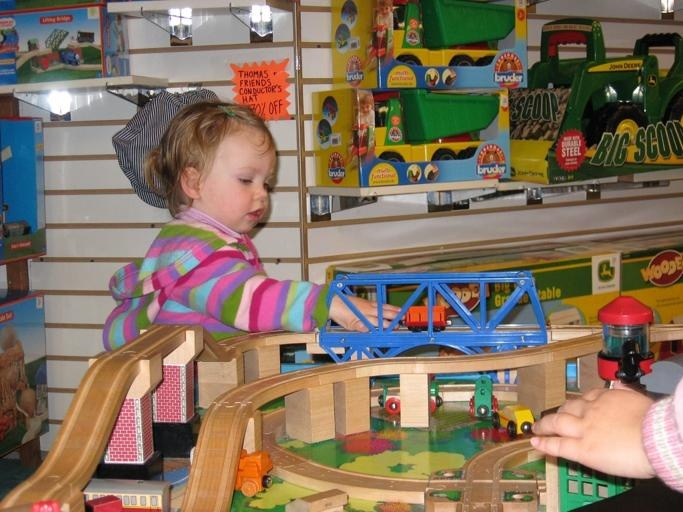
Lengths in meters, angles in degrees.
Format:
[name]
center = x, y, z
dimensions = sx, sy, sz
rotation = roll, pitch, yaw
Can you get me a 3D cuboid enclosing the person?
[person]
center = -0.229, -0.144, 1.961
dimensions = 0.775, 0.846, 0.567
rotation = 0, 7, -5
